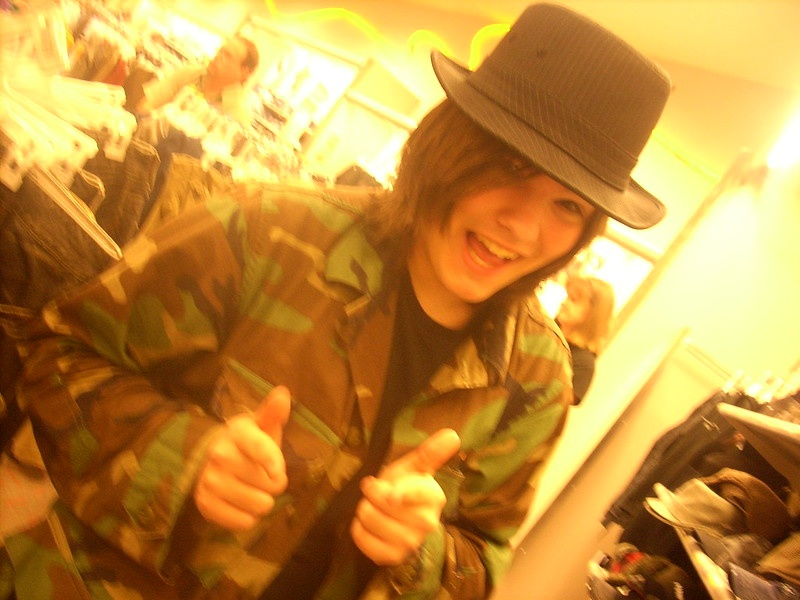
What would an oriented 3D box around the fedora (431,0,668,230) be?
[{"bbox_3d":[0.246,-0.309,1.122,0.379,0.148,0.349,45,19,10],"label":"fedora"}]
